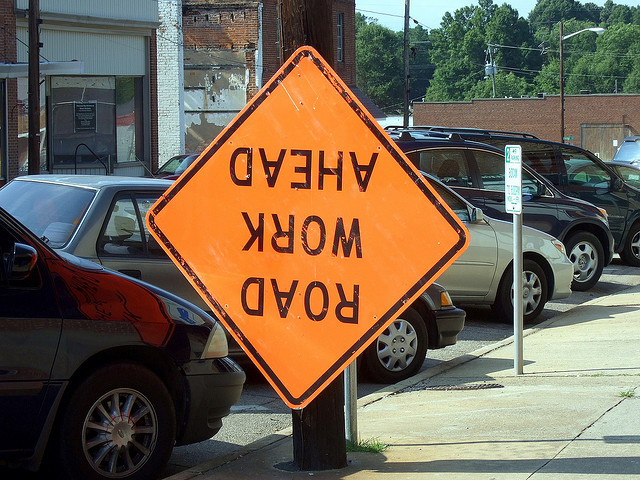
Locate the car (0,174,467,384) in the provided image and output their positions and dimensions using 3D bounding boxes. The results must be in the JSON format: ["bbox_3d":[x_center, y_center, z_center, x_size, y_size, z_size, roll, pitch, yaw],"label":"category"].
[{"bbox_3d":[-0.845,0.357,9.635,4.510,1.650,2.117,-1,2,-21],"label":"car"}]

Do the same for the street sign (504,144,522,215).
[{"bbox_3d":[1.990,-0.620,9.306,0.161,0.705,0.363,-2,4,12],"label":"street sign"}]

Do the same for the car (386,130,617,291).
[{"bbox_3d":[2.713,-0.553,14.416,4.375,2.214,2.186,-2,5,-24],"label":"car"}]

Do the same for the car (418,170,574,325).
[{"bbox_3d":[1.766,0.208,13.009,3.816,1.802,1.798,-1,-4,8],"label":"car"}]

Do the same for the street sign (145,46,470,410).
[{"bbox_3d":[-0.086,-0.093,5.850,1.842,2.303,0.340,-2,4,8],"label":"street sign"}]
